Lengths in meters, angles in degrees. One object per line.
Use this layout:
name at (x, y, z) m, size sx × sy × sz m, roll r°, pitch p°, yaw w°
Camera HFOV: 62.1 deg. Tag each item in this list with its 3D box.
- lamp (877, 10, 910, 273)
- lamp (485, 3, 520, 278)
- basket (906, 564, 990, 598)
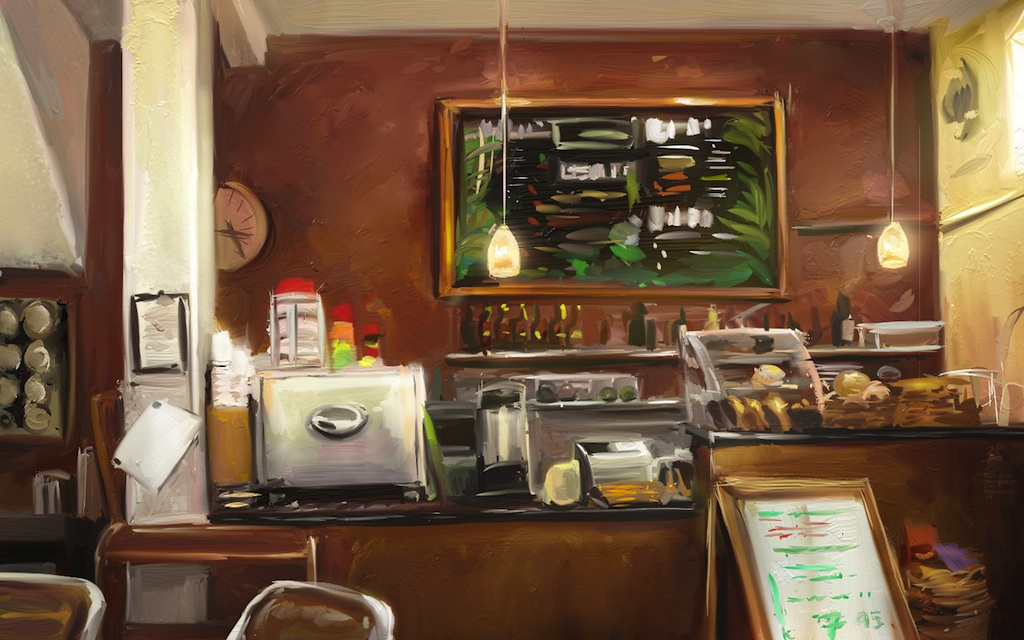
lamp at (2.708, -1.356, 6.145) m, size 0.235 × 1.937 × 0.490 m, roll -4°, pitch -5°, yaw 23°
lamp at (-0.080, -1.328, 6.013) m, size 0.256 × 2.031 × 0.544 m, roll -2°, pitch -4°, yaw -2°
basket at (3.010, 1.813, 5.903) m, size 0.423 × 0.247 × 0.136 m, roll -4°, pitch -4°, yaw -8°
